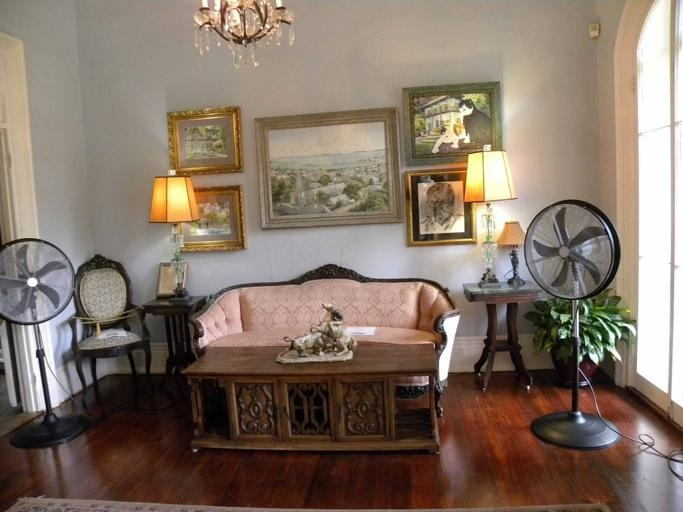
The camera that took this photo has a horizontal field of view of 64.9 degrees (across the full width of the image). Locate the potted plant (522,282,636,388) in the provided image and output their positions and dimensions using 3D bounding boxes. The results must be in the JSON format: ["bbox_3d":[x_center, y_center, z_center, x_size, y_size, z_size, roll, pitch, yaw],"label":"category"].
[{"bbox_3d":[2.144,0.725,5.114,0.849,0.845,0.874,1,-5,-1],"label":"potted plant"}]

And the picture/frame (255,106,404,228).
[{"bbox_3d":[-0.064,-0.958,5.471,1.183,0.948,0.055,-1,10,7],"label":"picture/frame"}]

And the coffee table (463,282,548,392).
[{"bbox_3d":[1.512,0.743,5.089,0.885,1.315,0.896,0,-2,4],"label":"coffee table"}]

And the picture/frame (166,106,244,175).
[{"bbox_3d":[-1.377,-1.231,5.589,0.698,0.613,0.058,-1,2,6],"label":"picture/frame"}]

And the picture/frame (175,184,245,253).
[{"bbox_3d":[-1.331,-0.417,5.571,0.681,0.666,0.057,-1,1,8],"label":"picture/frame"}]

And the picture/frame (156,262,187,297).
[{"bbox_3d":[-1.757,0.246,5.627,0.339,0.401,0.056,-1,-9,13],"label":"picture/frame"}]

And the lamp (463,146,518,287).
[{"bbox_3d":[1.401,-0.407,5.176,0.429,1.335,0.465,-5,6,-9],"label":"lamp"}]

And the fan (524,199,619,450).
[{"bbox_3d":[1.761,0.503,4.119,0.633,1.866,0.424,-2,6,21],"label":"fan"}]
